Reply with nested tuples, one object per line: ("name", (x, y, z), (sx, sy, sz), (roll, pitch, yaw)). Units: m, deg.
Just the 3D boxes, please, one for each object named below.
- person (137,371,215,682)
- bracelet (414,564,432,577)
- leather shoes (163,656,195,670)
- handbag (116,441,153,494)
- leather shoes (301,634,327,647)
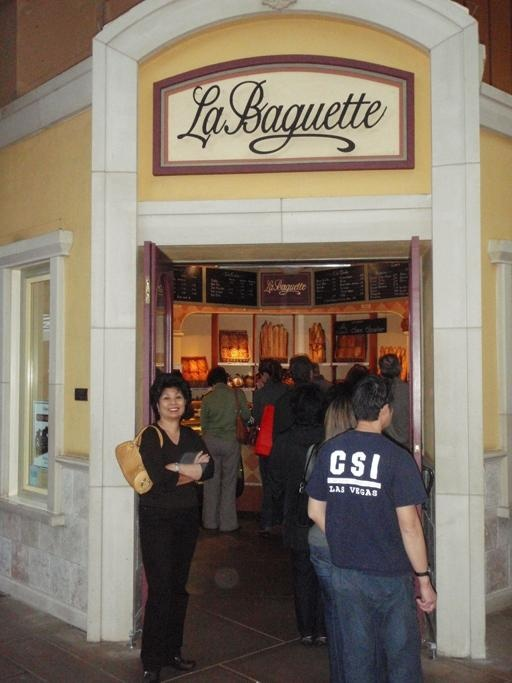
("person", (-0.414, 0.922, 3.595), (0.369, 1.528, 0.384), (1, -2, -10))
("bracelet", (0.619, 0.840, 2.611), (0.058, 0.043, 0.082), (-1, -3, 1))
("leather shoes", (-0.400, 1.654, 3.661), (0.157, 0.071, 0.059), (1, -7, -2))
("handbag", (-0.595, 0.600, 3.431), (0.115, 0.235, 0.169), (1, -2, -39))
("leather shoes", (0.322, 1.647, 3.942), (0.142, 0.067, 0.058), (-5, -7, 3))
